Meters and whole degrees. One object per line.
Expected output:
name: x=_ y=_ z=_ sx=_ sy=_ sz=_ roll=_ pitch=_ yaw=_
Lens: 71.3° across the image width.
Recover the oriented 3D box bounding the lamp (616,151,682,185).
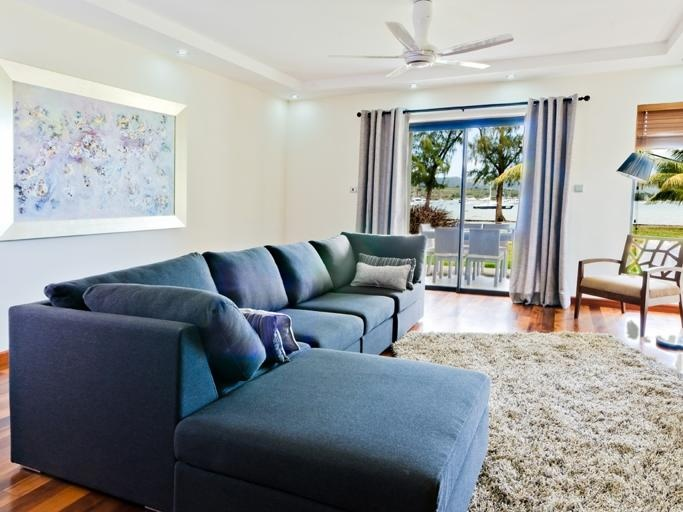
lamp: x=3.512 y=-1.014 z=5.440 sx=0.625 sy=0.344 sz=0.226 roll=21 pitch=3 yaw=-17

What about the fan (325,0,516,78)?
fan: x=0.743 y=-1.811 z=4.071 sx=0.952 sy=0.407 sz=0.988 roll=3 pitch=5 yaw=27

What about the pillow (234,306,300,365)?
pillow: x=-0.392 y=0.423 z=2.632 sx=0.102 sy=0.320 sz=0.281 roll=-30 pitch=-2 yaw=8
